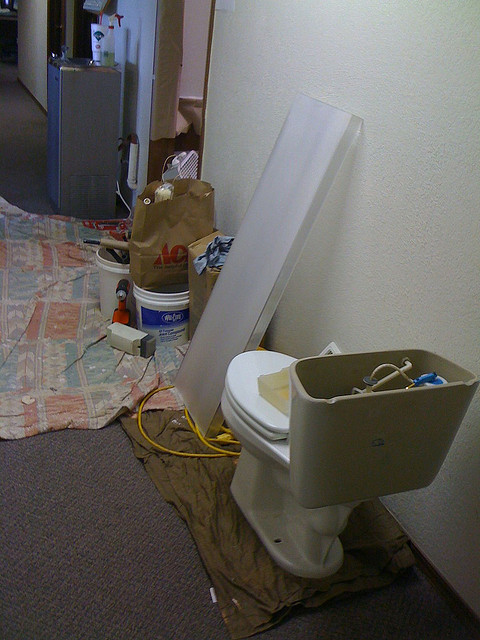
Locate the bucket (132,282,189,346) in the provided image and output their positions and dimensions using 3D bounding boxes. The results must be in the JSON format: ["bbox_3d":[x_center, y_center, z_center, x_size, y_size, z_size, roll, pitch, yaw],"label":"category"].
[{"bbox_3d":[-0.305,-0.030,2.331,0.260,0.247,0.265,1,32,-1],"label":"bucket"}]

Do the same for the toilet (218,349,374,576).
[{"bbox_3d":[0.071,0.337,1.384,0.335,0.416,0.579,-8,27,-17],"label":"toilet"}]

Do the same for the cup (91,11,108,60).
[{"bbox_3d":[-1.038,-2.053,3.758,0.108,0.228,0.189,1,28,-15],"label":"cup"}]
